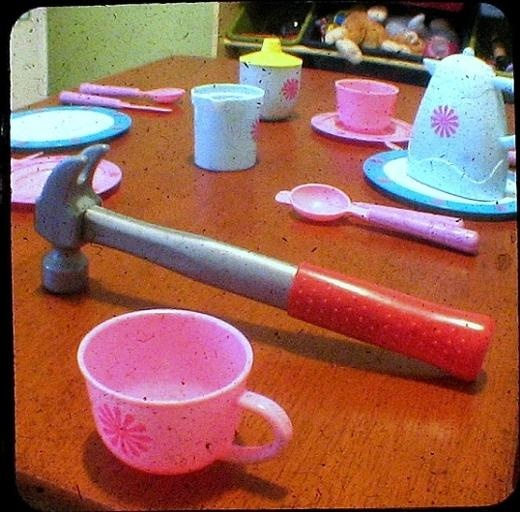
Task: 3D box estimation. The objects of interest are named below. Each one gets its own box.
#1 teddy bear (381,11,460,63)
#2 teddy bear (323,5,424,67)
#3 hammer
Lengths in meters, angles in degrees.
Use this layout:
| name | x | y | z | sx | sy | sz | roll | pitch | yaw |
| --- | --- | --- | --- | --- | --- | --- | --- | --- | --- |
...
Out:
| name | x | y | z | sx | sy | sz | roll | pitch | yaw |
| --- | --- | --- | --- | --- | --- | --- | --- | --- | --- |
| teddy bear | 0.209 | -0.279 | 0.760 | 0.063 | 0.030 | 0.048 | 28 | -4 | 22 |
| teddy bear | 0.159 | -0.280 | 0.758 | 0.086 | 0.026 | 0.085 | -12 | 42 | -31 |
| hammer | 0.006 | 0.005 | 0.387 | 0.294 | 0.121 | 0.047 | 17 | 35 | 13 |
